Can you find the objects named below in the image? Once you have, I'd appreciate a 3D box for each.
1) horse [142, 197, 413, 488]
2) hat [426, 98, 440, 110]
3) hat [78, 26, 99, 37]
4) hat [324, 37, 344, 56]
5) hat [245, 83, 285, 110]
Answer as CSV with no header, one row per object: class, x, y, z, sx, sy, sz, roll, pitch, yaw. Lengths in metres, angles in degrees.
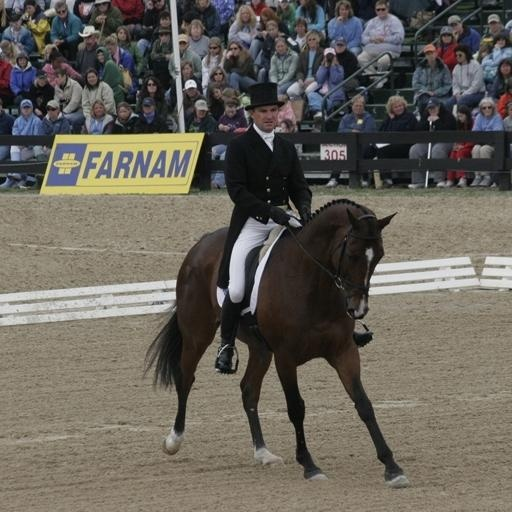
horse,0.154,0.643,10.420,0.920,2.281,2.625,-7,11,-35
hat,2.921,-2.458,19.791,0.203,0.171,0.198,0,9,7
hat,-3.118,-4.109,22.497,0.310,0.164,0.390,-13,-20,-1
hat,1.401,-3.606,21.083,0.185,0.333,0.631,5,11,-5
hat,0.080,-1.357,10.480,0.322,0.241,0.304,-1,9,-1
